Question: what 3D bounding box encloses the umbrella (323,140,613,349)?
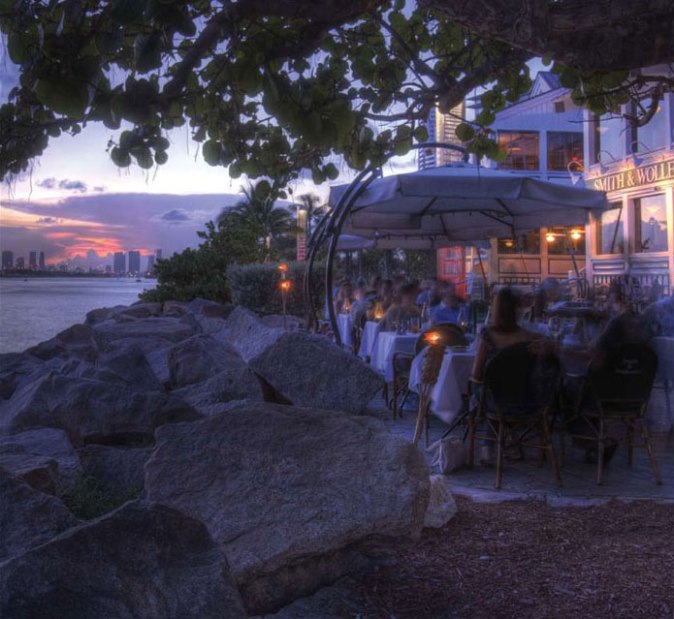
[{"bbox_3d":[1.558,-1.418,9.330,2.836,2.340,3.156,-4,1,-13],"label":"umbrella"}]
